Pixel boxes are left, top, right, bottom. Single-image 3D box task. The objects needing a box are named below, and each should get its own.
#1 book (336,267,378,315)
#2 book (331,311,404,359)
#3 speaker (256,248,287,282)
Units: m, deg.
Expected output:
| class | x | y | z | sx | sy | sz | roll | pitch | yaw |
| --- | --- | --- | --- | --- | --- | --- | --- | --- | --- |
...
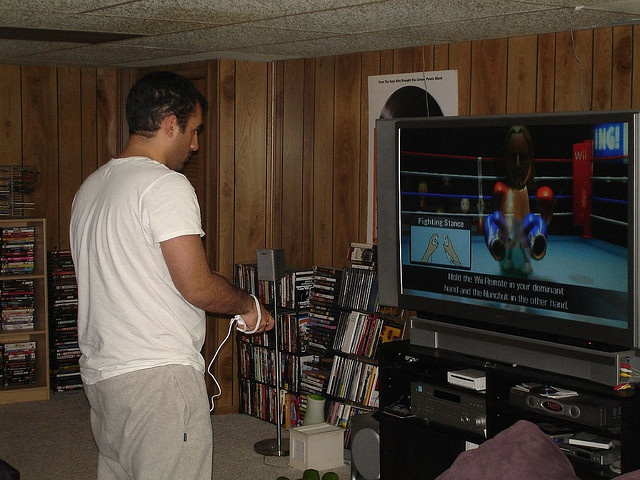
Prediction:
| class | x | y | z | sx | sy | sz | roll | pitch | yaw |
| --- | --- | --- | --- | --- | --- | --- | --- | --- | --- |
| book | 0.265 | 0.350 | 3.768 | 0.264 | 0.269 | 0.065 | 5 | 4 | 38 |
| book | 0.309 | 0.642 | 3.711 | 0.345 | 0.335 | 0.079 | 13 | 8 | 39 |
| speaker | -0.351 | 0.197 | 3.956 | 0.200 | 0.287 | 0.223 | 0 | 1 | 3 |
